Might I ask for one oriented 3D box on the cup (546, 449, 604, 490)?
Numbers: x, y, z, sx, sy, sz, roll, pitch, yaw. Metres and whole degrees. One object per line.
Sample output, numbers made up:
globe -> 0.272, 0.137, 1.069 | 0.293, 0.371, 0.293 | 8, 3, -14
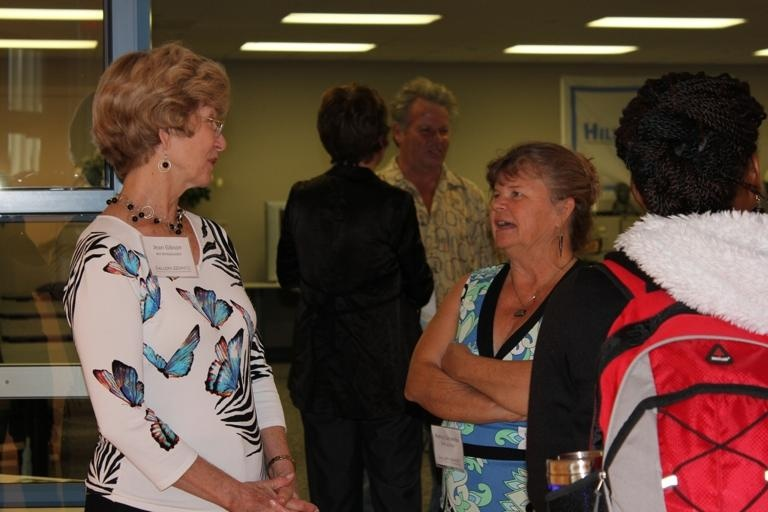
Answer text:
cup -> 0.470, 0.509, 2.191 | 0.118, 0.068, 0.107 | -15, -5, -1

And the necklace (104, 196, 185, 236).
necklace -> -0.720, -0.131, 2.674 | 0.174, 0.019, 0.147 | 30, 24, 17
